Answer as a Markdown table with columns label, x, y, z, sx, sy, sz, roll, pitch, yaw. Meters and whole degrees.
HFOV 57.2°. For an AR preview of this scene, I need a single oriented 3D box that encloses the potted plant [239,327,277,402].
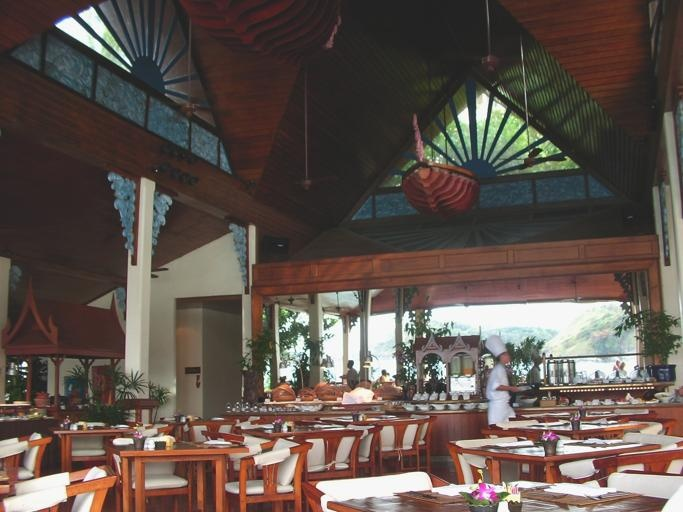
| label | x | y | z | sx | sy | sz | roll | pitch | yaw |
| --- | --- | --- | --- | --- | --- | --- | --- | --- | --- |
| potted plant | -1.725 | 2.204 | 12.800 | 0.639 | 1.537 | 0.651 | 5 | -12 | -31 |

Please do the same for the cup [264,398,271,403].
| label | x | y | z | sx | sy | sz | roll | pitch | yaw |
| --- | --- | --- | --- | --- | --- | --- | --- | --- | --- |
| cup | -1.474 | 2.869 | 12.519 | 0.147 | 0.094 | 0.152 | -1 | -4 | 0 |

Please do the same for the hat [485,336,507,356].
| label | x | y | z | sx | sy | sz | roll | pitch | yaw |
| --- | --- | --- | --- | --- | --- | --- | --- | --- | --- |
| hat | 2.101 | 1.218 | 8.397 | 0.256 | 0.222 | 0.297 | -30 | -40 | -3 |

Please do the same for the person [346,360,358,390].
| label | x | y | z | sx | sy | sz | roll | pitch | yaw |
| --- | --- | --- | --- | --- | --- | --- | --- | --- | --- |
| person | 0.246 | 2.716 | 14.458 | 0.243 | 0.634 | 0.748 | -1 | -11 | -1 |
